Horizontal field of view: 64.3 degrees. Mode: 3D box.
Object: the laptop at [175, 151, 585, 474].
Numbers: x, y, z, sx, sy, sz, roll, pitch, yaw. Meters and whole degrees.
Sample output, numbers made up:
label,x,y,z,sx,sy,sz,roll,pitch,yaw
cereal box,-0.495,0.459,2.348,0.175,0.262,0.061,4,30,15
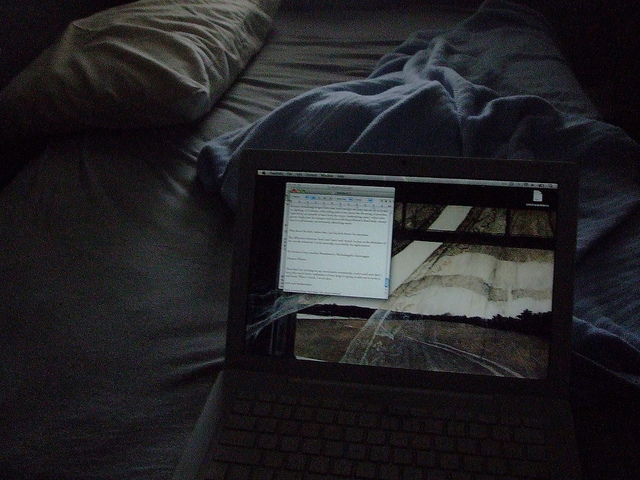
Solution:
label,x,y,z,sx,sy,sz,roll,pitch,yaw
laptop,0.151,0.122,1.060,0.609,0.492,0.578,5,25,6
